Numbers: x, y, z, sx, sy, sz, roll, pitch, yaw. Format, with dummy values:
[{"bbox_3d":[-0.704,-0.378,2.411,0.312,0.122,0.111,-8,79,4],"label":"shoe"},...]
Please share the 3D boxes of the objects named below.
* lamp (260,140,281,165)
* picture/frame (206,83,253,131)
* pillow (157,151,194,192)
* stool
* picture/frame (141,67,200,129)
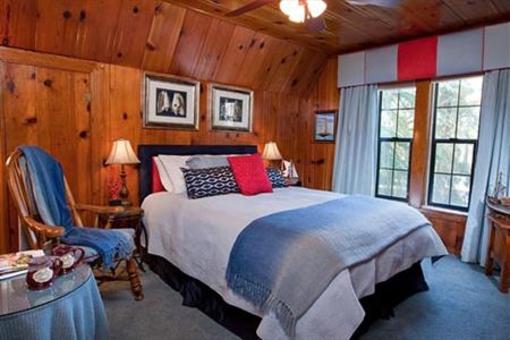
[{"bbox_3d":[0.260,-0.286,5.766,0.363,0.442,0.386,-1,8,10],"label":"lamp"},{"bbox_3d":[-0.430,-0.958,5.326,0.779,0.683,0.058,-1,4,-43],"label":"picture/frame"},{"bbox_3d":[-1.022,0.016,4.491,0.143,0.450,0.486,-29,-20,31],"label":"pillow"},{"bbox_3d":[-1.468,0.784,4.302,0.711,0.914,0.718,0,1,-13],"label":"stool"},{"bbox_3d":[-1.187,-0.979,4.746,0.868,0.764,0.088,-1,4,-40],"label":"picture/frame"}]
